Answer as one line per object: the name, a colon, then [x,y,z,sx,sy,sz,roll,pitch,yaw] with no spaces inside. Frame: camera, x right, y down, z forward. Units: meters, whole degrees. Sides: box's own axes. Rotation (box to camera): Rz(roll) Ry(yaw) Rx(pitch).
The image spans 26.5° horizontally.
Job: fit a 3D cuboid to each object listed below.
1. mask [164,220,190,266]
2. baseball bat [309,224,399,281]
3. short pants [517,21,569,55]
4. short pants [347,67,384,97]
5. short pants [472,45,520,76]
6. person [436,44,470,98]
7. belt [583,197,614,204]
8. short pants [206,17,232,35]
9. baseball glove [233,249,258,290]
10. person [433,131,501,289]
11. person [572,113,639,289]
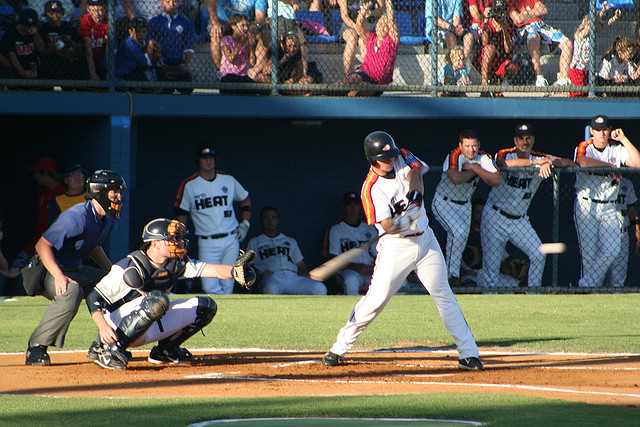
mask: [-1.776,0.364,16.957,0.298,0.465,0.417,14,0,13]
baseball bat: [0.514,0.563,19.436,1.315,0.204,0.135,-37,10,7]
short pants: [3.478,-2.743,21.289,0.769,0.506,0.254,-2,7,-17]
short pants: [0.685,-2.046,21.320,0.528,0.463,0.496,0,7,2]
short pants: [2.742,-2.361,21.259,0.603,0.342,0.426,23,18,-12]
person: [2.135,-2.228,21.477,0.538,0.835,0.495,-10,25,-22]
belt: [4.194,-0.194,20.414,0.457,0.089,0.036,0,6,6]
short pants: [-1.587,-2.872,20.944,0.410,0.248,0.068,1,6,13]
baseball glove: [-0.960,0.666,16.794,0.270,0.523,0.198,19,2,-29]
person: [2.169,-0.013,20.399,0.872,2.359,0.905,3,-1,-3]
person: [4.309,-0.193,20.605,0.869,2.567,0.724,1,6,14]
